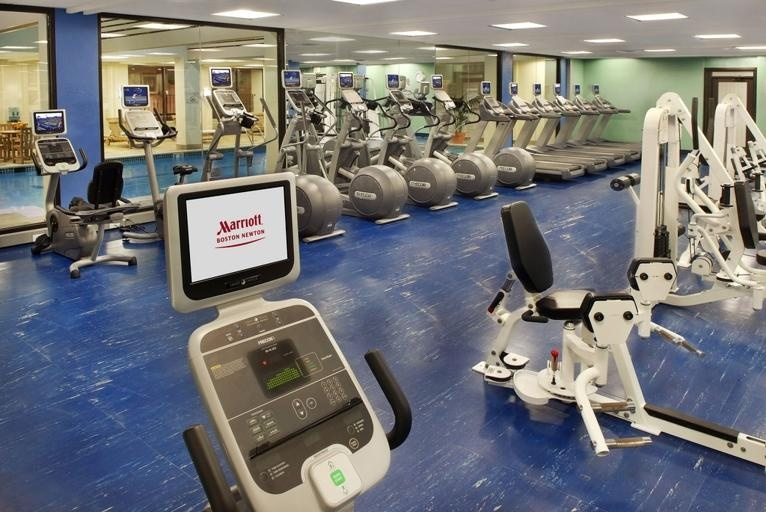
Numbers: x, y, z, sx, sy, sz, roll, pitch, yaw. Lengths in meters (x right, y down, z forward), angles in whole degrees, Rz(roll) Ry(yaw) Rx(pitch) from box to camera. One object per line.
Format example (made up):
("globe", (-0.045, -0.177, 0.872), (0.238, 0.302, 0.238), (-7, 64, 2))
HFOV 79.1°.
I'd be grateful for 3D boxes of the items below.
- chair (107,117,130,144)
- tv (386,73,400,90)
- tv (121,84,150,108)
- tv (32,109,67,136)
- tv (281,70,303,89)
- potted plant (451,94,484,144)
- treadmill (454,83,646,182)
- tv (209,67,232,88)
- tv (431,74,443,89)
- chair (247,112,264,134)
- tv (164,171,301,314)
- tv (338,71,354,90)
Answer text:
("chair", (-4.210, -1.951, 7.371), (0.238, 0.450, 0.703), (-10, 19, -22))
("tv", (0.219, -3.119, 8.304), (0.129, 0.234, 0.385), (9, 21, 32))
("tv", (-3.144, -2.029, 5.912), (0.339, 0.302, 0.140), (-7, 16, -45))
("tv", (-3.946, -1.579, 5.515), (0.363, 0.293, 0.188), (-18, 23, -39))
("tv", (-1.383, -2.711, 7.119), (0.271, 0.279, 0.291), (-7, 18, -12))
("potted plant", (2.421, -4.071, 13.976), (0.790, 1.216, 0.906), (2, 11, 32))
("treadmill", (4.704, -3.169, 11.463), (2.911, 2.172, 7.131), (7, 20, 29))
("tv", (-2.349, -2.602, 6.772), (0.170, 0.270, 0.378), (8, 21, 31))
("tv", (1.047, -3.345, 8.958), (0.197, 0.265, 0.113), (-19, 24, -41))
("chair", (-2.509, -2.678, 9.377), (0.263, 0.421, 0.429), (-7, 18, -13))
("tv", (-0.508, -0.062, 1.628), (0.060, 0.424, 0.491), (14, 20, 38))
("tv", (-0.561, -2.838, 7.556), (0.152, 0.252, 0.327), (12, 23, 40))
